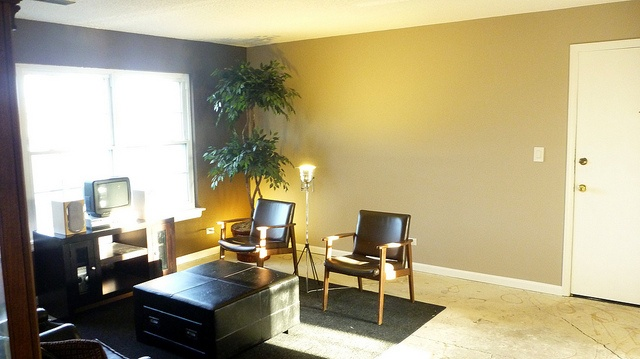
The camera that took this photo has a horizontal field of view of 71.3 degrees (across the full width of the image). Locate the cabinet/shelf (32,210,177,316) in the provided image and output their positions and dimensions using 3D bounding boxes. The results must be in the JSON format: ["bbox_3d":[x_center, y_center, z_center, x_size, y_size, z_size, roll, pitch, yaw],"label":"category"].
[{"bbox_3d":[-2.780,1.127,6.129,0.506,0.754,1.492,3,9,38],"label":"cabinet/shelf"}]

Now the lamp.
[{"bbox_3d":[-0.230,0.760,6.615,0.513,1.925,0.437,2,4,2],"label":"lamp"}]

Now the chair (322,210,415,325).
[{"bbox_3d":[0.613,1.067,5.854,1.184,1.097,1.102,-8,10,-28],"label":"chair"}]

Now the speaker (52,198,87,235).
[{"bbox_3d":[-3.262,0.496,5.778,0.332,0.409,0.326,-1,4,14],"label":"speaker"}]

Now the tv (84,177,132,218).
[{"bbox_3d":[-2.964,0.247,6.153,0.357,0.478,0.585,0,5,25],"label":"tv"}]
